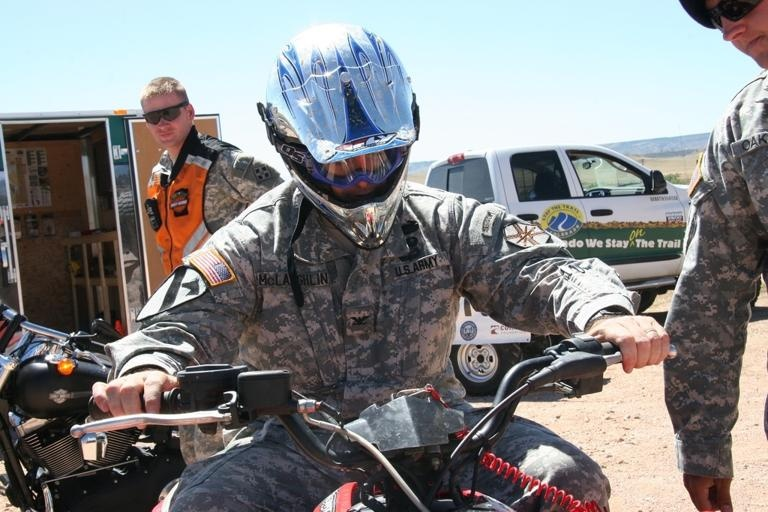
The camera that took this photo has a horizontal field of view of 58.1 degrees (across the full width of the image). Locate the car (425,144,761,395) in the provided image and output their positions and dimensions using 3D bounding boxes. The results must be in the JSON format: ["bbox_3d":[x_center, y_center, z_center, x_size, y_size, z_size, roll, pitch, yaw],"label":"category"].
[{"bbox_3d":[2.067,-0.308,8.484,4.344,2.004,2.170,-23,11,-27],"label":"car"}]
